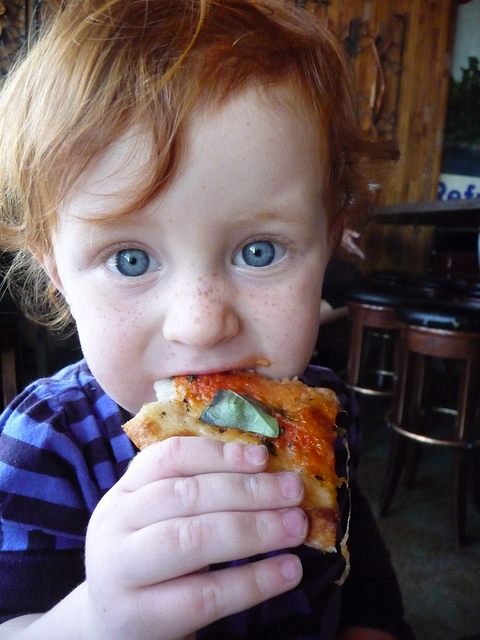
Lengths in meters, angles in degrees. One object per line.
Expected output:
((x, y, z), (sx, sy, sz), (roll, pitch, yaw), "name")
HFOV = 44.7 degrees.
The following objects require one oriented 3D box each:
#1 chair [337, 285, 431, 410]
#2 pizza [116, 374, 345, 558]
((0.420, 0.112, 1.755), (0.240, 0.355, 0.238), (4, 5, -24), "chair")
((0.015, 0.157, 0.825), (0.297, 0.169, 0.204), (13, 33, 15), "pizza")
